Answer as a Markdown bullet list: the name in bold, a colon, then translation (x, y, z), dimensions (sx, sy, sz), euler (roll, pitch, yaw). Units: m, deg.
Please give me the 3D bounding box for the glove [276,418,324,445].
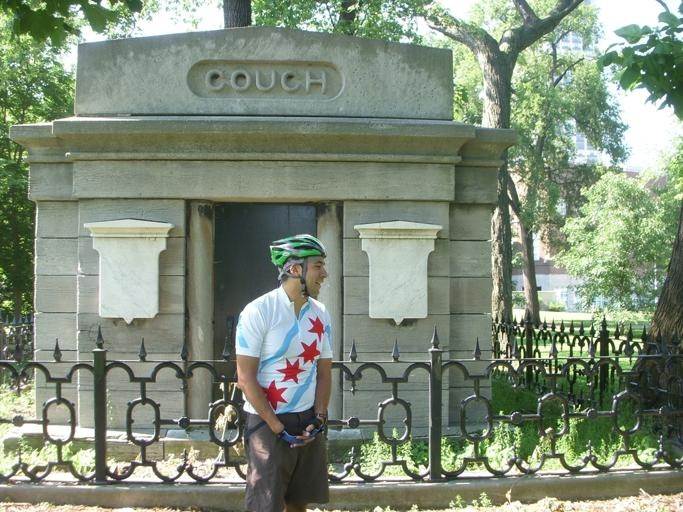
- **glove**: translation (-0.737, 3.242, 27.015), dimensions (0.647, 0.225, 0.474), euler (-19, 1, -8)
